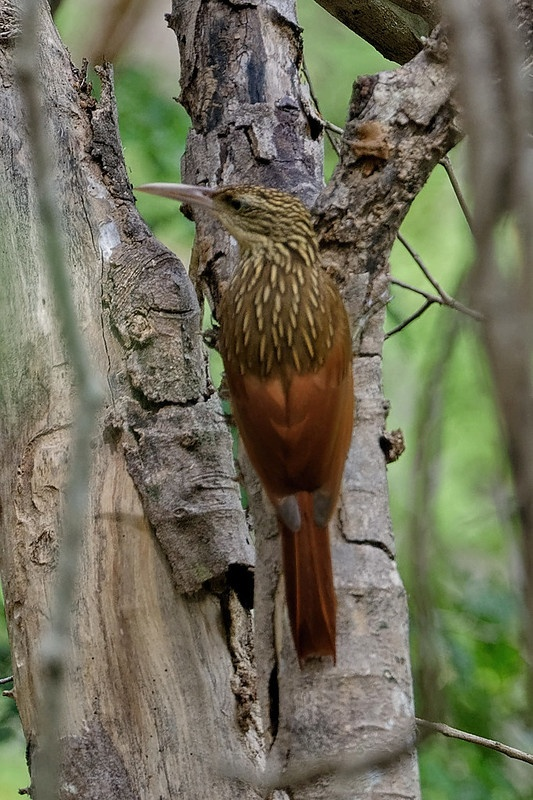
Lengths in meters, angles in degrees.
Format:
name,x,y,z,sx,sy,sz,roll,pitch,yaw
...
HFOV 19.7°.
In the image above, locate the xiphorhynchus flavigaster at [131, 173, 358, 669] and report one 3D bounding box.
name,x,y,z,sx,sy,sz,roll,pitch,yaw
xiphorhynchus flavigaster,0.029,0.014,3.685,0.342,1.418,0.372,-1,-18,-8
